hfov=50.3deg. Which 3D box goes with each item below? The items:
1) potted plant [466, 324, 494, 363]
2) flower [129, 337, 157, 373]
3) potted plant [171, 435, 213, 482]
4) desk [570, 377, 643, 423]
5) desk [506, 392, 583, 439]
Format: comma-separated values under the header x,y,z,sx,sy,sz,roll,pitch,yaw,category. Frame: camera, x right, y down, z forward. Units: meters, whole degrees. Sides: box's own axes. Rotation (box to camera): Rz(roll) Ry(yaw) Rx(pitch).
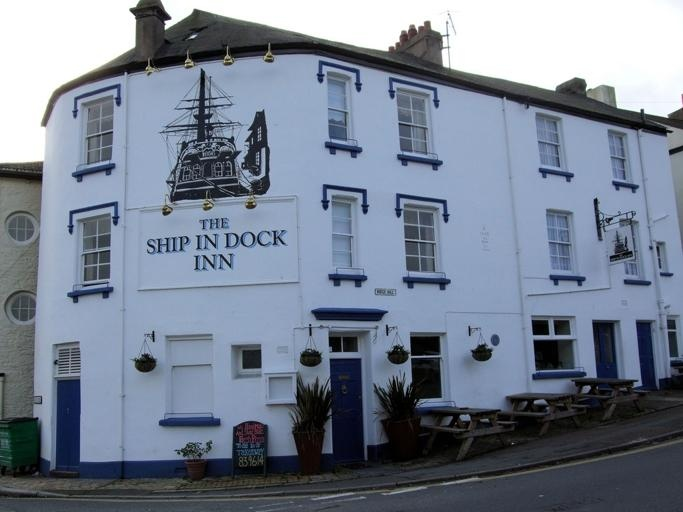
x,y,z,sx,sy,sz,roll,pitch,yaw,category
4.376,2.678,22.352,0.790,1.035,0.582,-4,-2,-17,potted plant
-5.470,2.623,20.276,0.369,0.668,0.391,3,13,5,flower
-3.996,5.521,19.713,0.924,0.967,0.514,-2,-7,-12,potted plant
8.423,4.710,23.026,1.593,0.821,1.533,2,-5,-41,desk
6.143,4.594,22.131,1.584,0.803,1.528,3,-6,-44,desk
